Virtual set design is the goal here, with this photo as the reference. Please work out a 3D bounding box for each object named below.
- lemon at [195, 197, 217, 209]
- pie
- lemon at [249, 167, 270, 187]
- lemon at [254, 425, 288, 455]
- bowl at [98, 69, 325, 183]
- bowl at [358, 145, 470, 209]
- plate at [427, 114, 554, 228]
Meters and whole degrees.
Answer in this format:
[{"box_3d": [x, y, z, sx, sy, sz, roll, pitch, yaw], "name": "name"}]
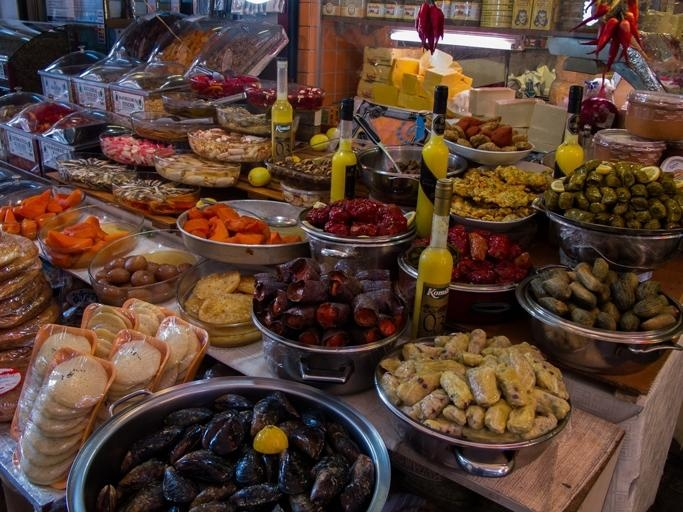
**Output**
[{"box_3d": [-0.659, -0.257, 2.231, 0.092, 0.038, 0.103, -1, 5, -6], "name": "lemon"}, {"box_3d": [-0.734, 0.355, 1.431, 0.425, 0.190, 0.576, 9, 43, 8], "name": "pie"}, {"box_3d": [-0.448, -0.425, 2.501, 0.130, 0.097, 0.111, 0, 25, -2], "name": "lemon"}, {"box_3d": [-0.186, 0.484, 1.216, 0.080, 0.042, 0.077, -26, 47, -36], "name": "lemon"}, {"box_3d": [-0.616, -0.838, 2.802, 1.184, 0.430, 0.853, 17, 29, 32], "name": "bowl"}, {"box_3d": [0.252, -0.353, 2.023, 0.396, 0.125, 0.384, 1, 25, 0], "name": "bowl"}, {"box_3d": [0.616, -0.341, 1.878, 0.515, 0.123, 0.482, -6, 37, -4], "name": "plate"}]
